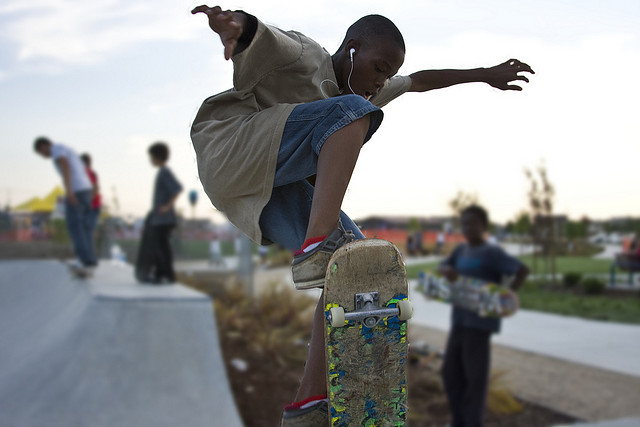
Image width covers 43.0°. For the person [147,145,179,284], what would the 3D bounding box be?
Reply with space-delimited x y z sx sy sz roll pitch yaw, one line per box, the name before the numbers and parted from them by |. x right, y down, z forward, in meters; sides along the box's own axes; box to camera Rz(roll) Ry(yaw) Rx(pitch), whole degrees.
person | -1.099 -0.002 5.718 0.175 0.966 0.576 0 3 4

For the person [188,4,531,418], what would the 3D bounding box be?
person | 0.006 -0.003 4.111 1.293 1.973 0.788 -1 3 -13
